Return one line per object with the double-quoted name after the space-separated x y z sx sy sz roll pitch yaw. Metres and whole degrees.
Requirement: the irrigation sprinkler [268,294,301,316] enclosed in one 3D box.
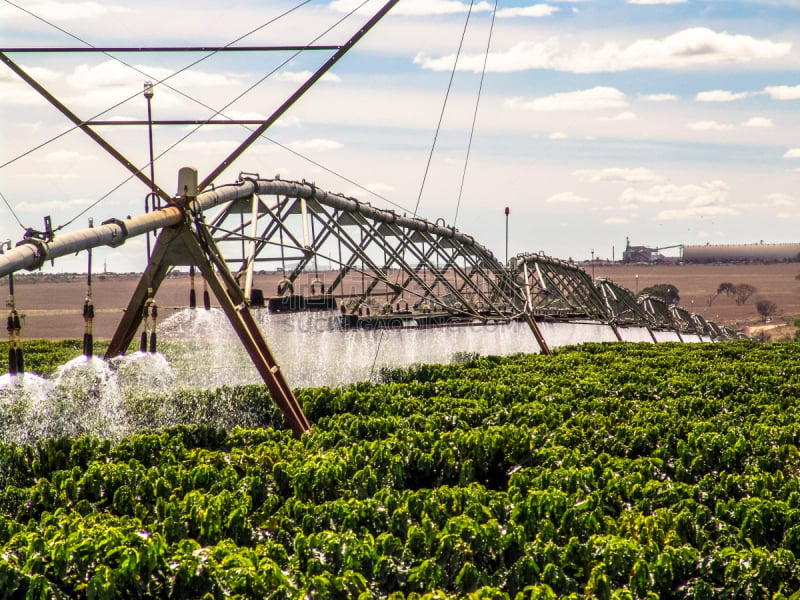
-3.066 0.119 30.351 1.039 0.424 0.393 -4 -1 30 "irrigation sprinkler"
